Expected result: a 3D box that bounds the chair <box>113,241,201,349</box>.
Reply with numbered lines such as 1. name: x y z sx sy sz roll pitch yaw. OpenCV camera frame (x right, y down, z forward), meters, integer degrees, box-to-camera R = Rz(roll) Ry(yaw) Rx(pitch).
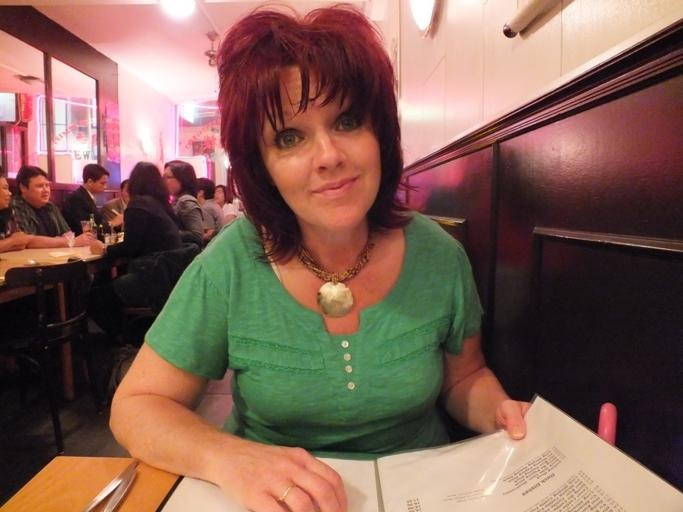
1. chair: -1.132 0.252 3.552 0.738 0.896 0.669 0 0 0
